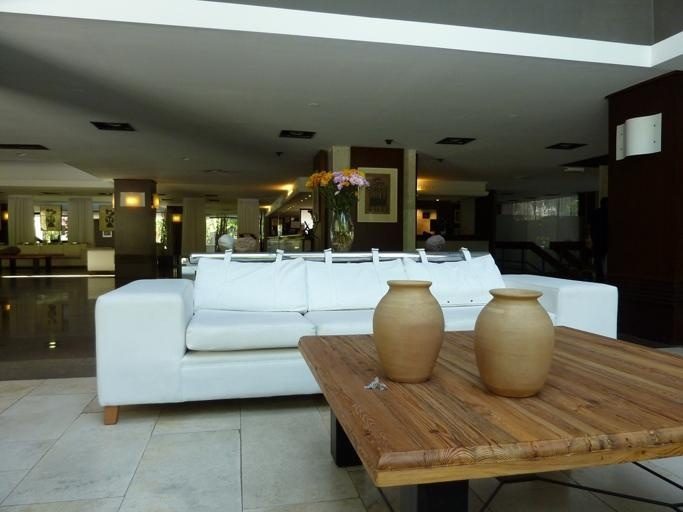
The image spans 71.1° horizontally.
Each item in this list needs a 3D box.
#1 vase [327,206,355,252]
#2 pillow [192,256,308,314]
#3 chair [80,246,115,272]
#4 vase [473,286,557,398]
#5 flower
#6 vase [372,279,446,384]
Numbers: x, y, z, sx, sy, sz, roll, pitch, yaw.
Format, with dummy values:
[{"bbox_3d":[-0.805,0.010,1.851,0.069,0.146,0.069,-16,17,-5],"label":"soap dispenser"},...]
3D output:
[{"bbox_3d":[-0.002,-0.203,3.817,0.163,0.336,0.279,-1,6,-3],"label":"vase"},{"bbox_3d":[-0.589,0.195,3.095,0.621,0.377,0.189,1,-36,-6],"label":"pillow"},{"bbox_3d":[-6.595,0.159,13.015,0.795,0.600,0.776,0,9,-17],"label":"chair"},{"bbox_3d":[0.586,0.287,1.628,0.273,0.341,0.256,-5,7,-38],"label":"vase"},{"bbox_3d":[-0.027,-0.350,3.905,0.565,0.702,0.454,-2,4,-14],"label":"flower"},{"bbox_3d":[0.223,0.262,1.748,0.276,0.346,0.278,3,8,-8],"label":"vase"}]
